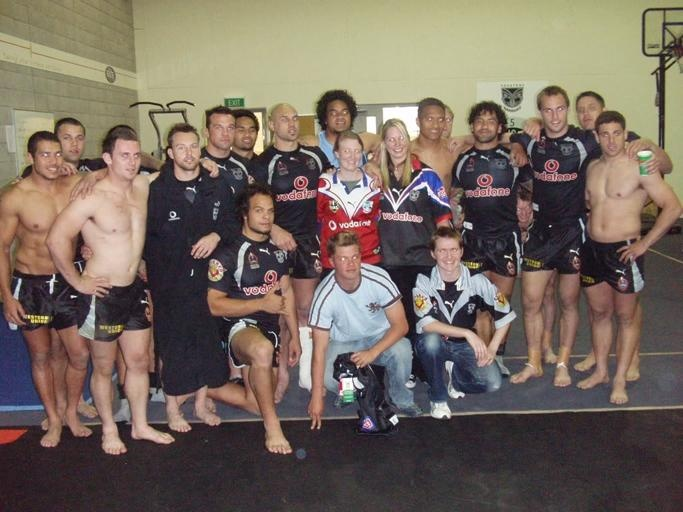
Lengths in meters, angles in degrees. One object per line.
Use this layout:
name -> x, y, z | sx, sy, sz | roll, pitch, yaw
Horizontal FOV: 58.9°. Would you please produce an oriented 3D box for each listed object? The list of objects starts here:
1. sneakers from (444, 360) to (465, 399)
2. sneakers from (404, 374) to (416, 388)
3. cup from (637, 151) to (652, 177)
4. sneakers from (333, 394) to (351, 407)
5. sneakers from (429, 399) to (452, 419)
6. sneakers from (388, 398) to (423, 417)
sneakers -> 0.926, 1.000, 4.811 | 0.113, 0.347, 0.154 | -8, -1, -16
sneakers -> 0.579, 1.031, 4.986 | 0.091, 0.096, 0.246 | 0, -7, 15
cup -> 2.218, -0.672, 4.411 | 0.089, 0.181, 0.071 | 4, 8, 27
sneakers -> -0.001, 1.049, 4.343 | 0.141, 0.043, 0.099 | 0, 1, 10
sneakers -> 0.744, 1.111, 4.488 | 0.158, 0.125, 0.220 | 1, 7, 8
sneakers -> 0.484, 1.120, 4.474 | 0.204, 0.086, 0.103 | -5, -4, 41
